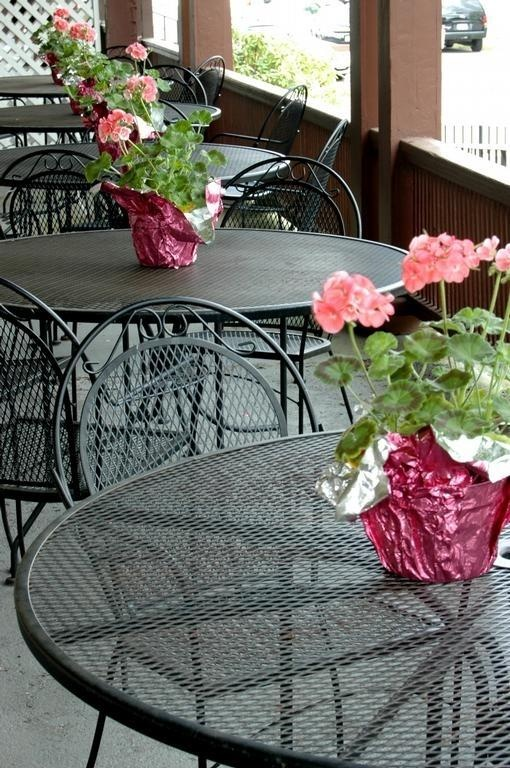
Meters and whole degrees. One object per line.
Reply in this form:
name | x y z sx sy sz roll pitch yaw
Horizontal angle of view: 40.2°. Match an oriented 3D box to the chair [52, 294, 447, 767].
chair | -0.121 0.080 1.591 0.637 0.797 0.558 -13 28 -25
